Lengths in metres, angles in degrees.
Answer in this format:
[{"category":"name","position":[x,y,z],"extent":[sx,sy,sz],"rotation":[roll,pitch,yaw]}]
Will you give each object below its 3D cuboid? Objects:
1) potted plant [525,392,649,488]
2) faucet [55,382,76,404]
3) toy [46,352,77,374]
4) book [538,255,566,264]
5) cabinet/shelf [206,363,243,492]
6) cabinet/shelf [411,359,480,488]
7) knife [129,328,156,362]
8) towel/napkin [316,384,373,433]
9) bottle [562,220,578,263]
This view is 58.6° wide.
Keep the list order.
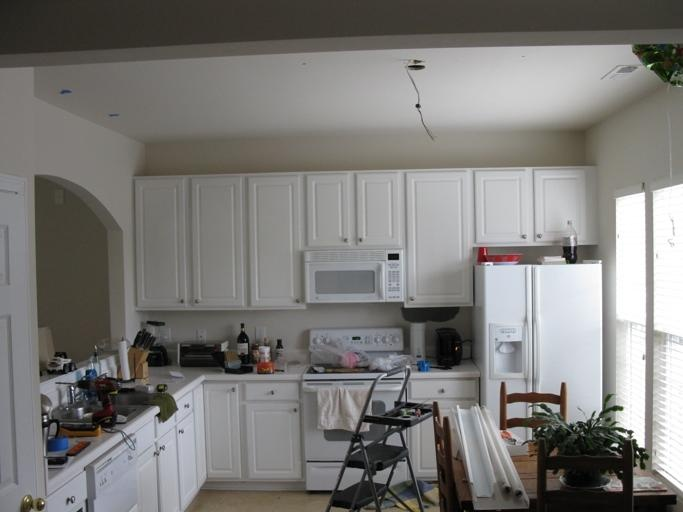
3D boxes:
[{"category":"potted plant","position":[1.316,0.979,3.370],"extent":[0.611,0.456,0.615],"rotation":[1,-5,-10]},{"category":"faucet","position":[-1.813,0.916,4.072],"extent":[0.109,0.152,0.295],"rotation":[-1,-2,-36]},{"category":"toy","position":[-1.953,0.758,4.285],"extent":[0.094,0.120,0.171],"rotation":[0,2,1]},{"category":"book","position":[1.675,0.034,4.858],"extent":[0.190,0.048,0.181],"rotation":[-2,-2,16]},{"category":"cabinet/shelf","position":[-0.955,1.389,4.970],"extent":[0.300,0.837,0.091],"rotation":[-1,-1,-12]},{"category":"cabinet/shelf","position":[0.767,1.333,4.861],"extent":[0.733,1.150,0.721],"rotation":[-1,-6,2]},{"category":"knife","position":[-1.572,0.692,4.829],"extent":[0.150,0.182,0.268],"rotation":[-2,-1,-9]},{"category":"towel/napkin","position":[0.035,1.170,4.692],"extent":[0.498,0.470,0.057],"rotation":[0,-4,7]},{"category":"bottle","position":[1.830,-0.116,4.912],"extent":[0.118,0.294,0.267],"rotation":[-2,-1,21]}]
